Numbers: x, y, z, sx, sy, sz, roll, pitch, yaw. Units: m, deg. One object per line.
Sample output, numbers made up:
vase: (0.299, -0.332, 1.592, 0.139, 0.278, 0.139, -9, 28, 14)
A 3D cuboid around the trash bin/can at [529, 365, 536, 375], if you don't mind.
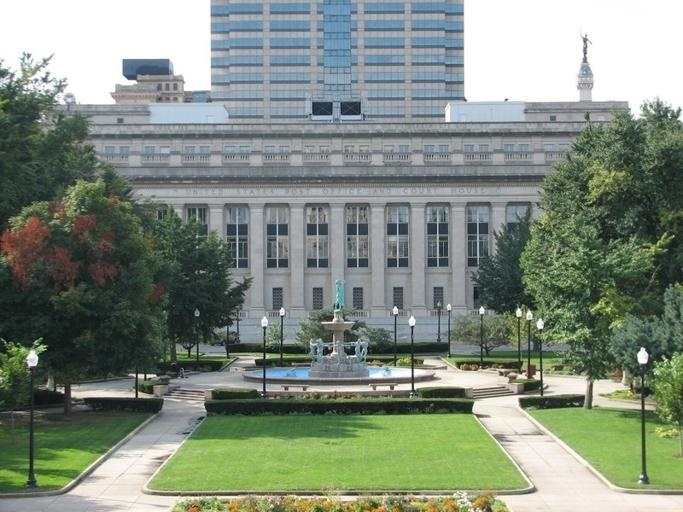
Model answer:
trash bin/can: (15.263, 9.153, 112.265, 0.865, 0.803, 0.624, 0, 1, 7)
